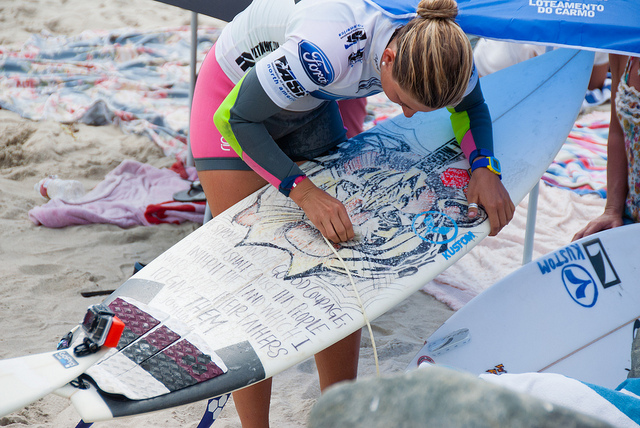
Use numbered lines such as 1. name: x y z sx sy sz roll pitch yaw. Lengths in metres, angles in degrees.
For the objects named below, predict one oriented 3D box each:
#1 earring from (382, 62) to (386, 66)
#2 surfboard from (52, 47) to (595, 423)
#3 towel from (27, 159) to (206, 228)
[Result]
1. earring: 0.304 -0.718 3.518 0.019 0.018 0.003 32 30 27
2. surfboard: 0.078 0.160 4.050 3.754 0.445 1.006 -33 72 -25
3. towel: -1.609 -0.097 5.834 1.141 0.229 0.718 -18 40 -30
